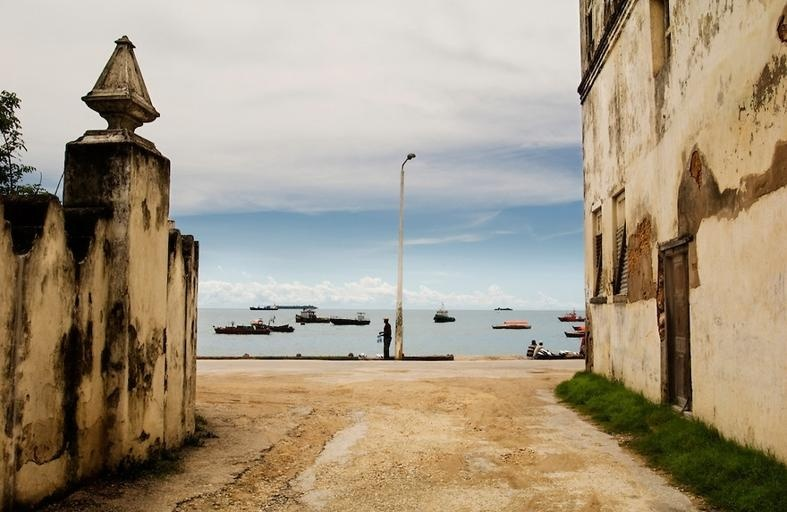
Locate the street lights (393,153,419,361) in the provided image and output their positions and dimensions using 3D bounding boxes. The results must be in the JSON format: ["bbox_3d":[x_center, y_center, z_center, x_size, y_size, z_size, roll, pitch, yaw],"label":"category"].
[{"bbox_3d":[0.264,-0.014,26.444,0.713,7.238,0.328,7,20,1],"label":"street lights"}]
